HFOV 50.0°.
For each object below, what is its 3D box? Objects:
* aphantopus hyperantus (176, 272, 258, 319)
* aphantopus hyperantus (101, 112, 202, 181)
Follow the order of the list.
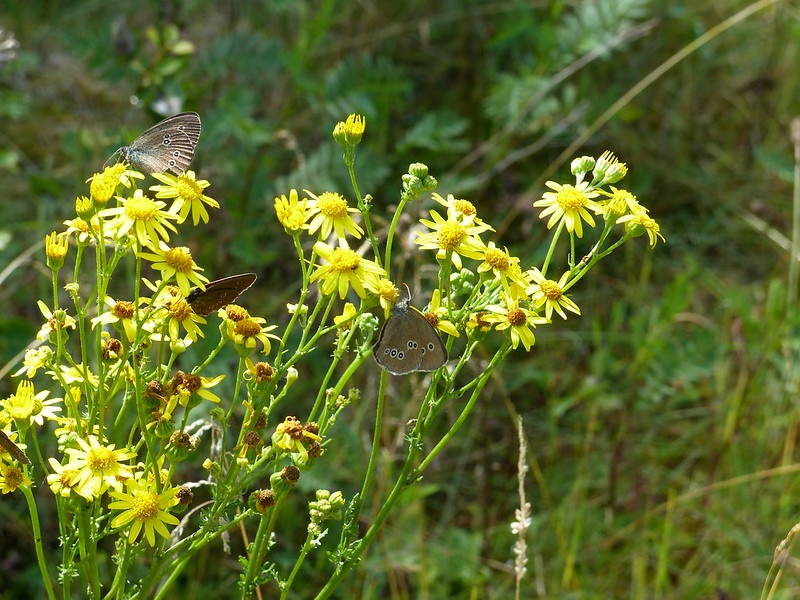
[{"bbox_3d":[-0.842,-0.003,3.722,0.302,0.305,0.145,-21,95,-45],"label":"aphantopus hyperantus"},{"bbox_3d":[-1.071,-0.688,3.795,0.287,0.234,0.347,10,11,14],"label":"aphantopus hyperantus"}]
